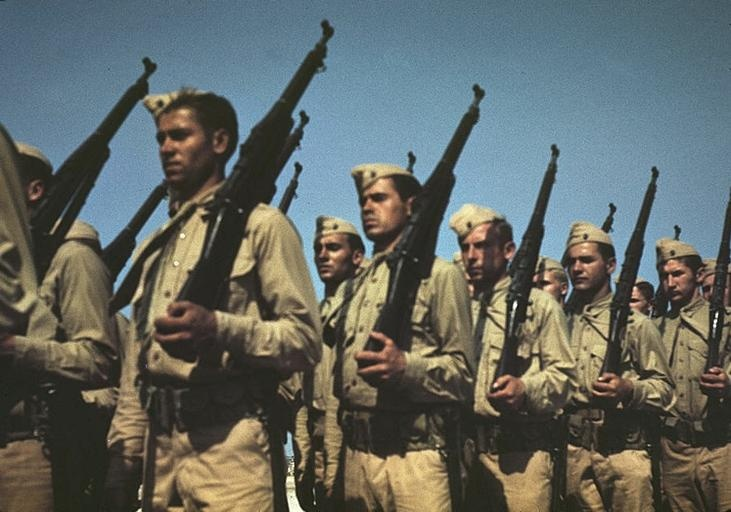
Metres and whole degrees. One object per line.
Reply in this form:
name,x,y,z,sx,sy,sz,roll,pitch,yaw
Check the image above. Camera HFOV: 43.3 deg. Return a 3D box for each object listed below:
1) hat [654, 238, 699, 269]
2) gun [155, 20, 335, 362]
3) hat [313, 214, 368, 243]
hat,3.061,-0.019,9.218,0.391,0.242,0.280,4,-3,-1
gun,-0.833,-0.849,7.288,0.309,2.780,0.804,-9,-24,44
hat,-0.257,-0.233,8.185,0.355,0.154,0.252,15,-19,-38
